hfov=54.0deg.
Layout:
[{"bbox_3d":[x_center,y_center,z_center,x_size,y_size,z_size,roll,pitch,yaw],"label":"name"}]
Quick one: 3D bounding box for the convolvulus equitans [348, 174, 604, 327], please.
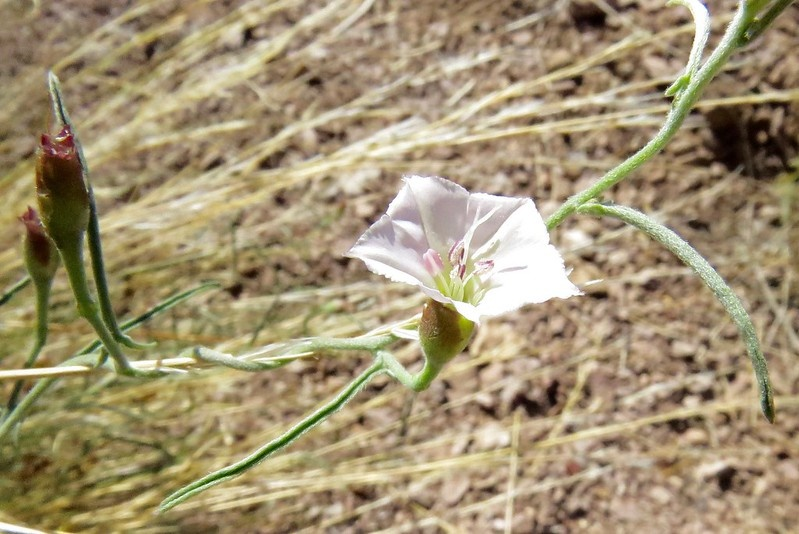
[{"bbox_3d":[0.263,-0.068,3.096,0.584,0.738,0.957,2,2,2],"label":"convolvulus equitans"}]
